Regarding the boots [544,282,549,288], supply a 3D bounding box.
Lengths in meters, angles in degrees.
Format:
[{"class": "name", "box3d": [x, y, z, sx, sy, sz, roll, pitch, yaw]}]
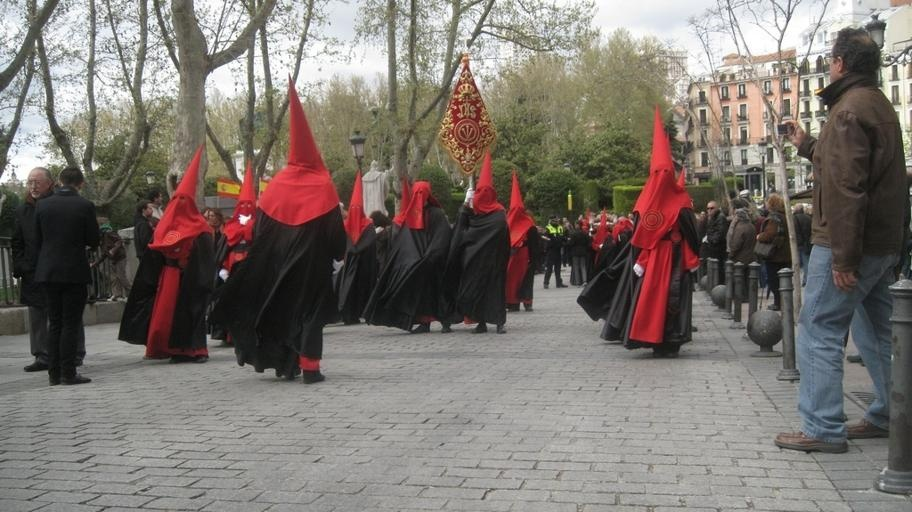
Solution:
[{"class": "boots", "box3d": [2.892, 0.964, 30.197, 0.166, 0.149, 0.154, -2, -6, 24]}]

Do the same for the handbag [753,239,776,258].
[{"class": "handbag", "box3d": [6.312, -0.153, 19.169, 0.196, 0.345, 0.379, 28, -4, -30]}]

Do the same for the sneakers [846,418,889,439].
[{"class": "sneakers", "box3d": [5.010, 2.146, 11.570, 0.547, 0.177, 0.209, 4, -3, 5]}]

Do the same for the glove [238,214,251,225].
[{"class": "glove", "box3d": [-3.889, -0.679, 17.444, 0.213, 0.174, 0.098, 1, 6, 12]}]

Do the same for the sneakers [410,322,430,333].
[{"class": "sneakers", "box3d": [-0.661, 1.453, 18.854, 0.445, 0.237, 0.158, 4, -8, 7]}]

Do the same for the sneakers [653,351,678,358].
[{"class": "sneakers", "box3d": [3.464, 1.615, 15.462, 0.421, 0.098, 0.170, 1, -1, 1]}]

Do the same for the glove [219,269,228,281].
[{"class": "glove", "box3d": [-4.194, 0.348, 17.077, 0.189, 0.207, 0.078, 17, 4, -1]}]

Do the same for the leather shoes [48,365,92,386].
[{"class": "leather shoes", "box3d": [-5.975, 1.863, 14.520, 0.768, 0.252, 0.250, 0, 0, -13]}]

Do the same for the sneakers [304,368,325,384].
[{"class": "sneakers", "box3d": [-2.134, 1.820, 14.126, 0.376, 0.211, 0.141, -6, 11, -43]}]
